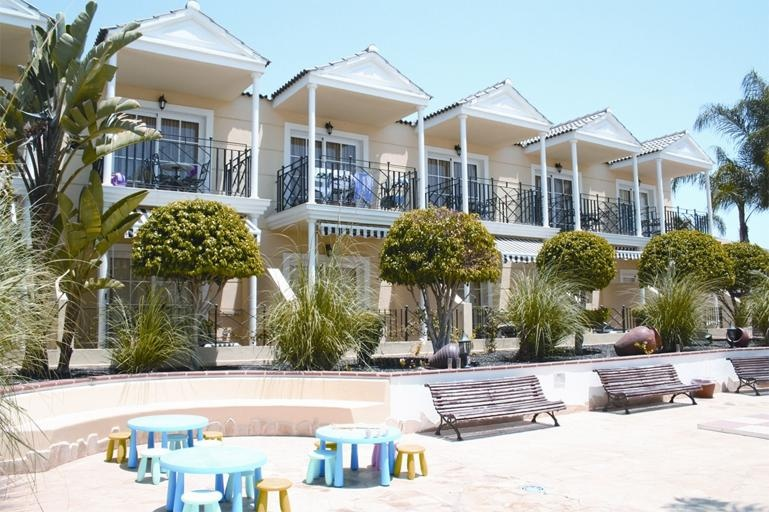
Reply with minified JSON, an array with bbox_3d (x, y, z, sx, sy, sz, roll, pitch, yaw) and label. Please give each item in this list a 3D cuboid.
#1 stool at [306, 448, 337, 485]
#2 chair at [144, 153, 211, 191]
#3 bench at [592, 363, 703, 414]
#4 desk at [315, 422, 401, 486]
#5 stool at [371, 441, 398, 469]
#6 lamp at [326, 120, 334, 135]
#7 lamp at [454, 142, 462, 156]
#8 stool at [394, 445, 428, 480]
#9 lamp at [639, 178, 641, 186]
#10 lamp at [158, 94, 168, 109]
[{"bbox_3d":[-1.141,3.757,11.620,0.487,0.576,0.545,-3,-7,25],"label":"stool"},{"bbox_3d":[-6.626,-2.500,20.296,1.333,0.738,1.416,0,-1,13],"label":"chair"},{"bbox_3d":[6.832,3.446,16.756,2.910,1.049,0.899,-1,11,-24],"label":"bench"},{"bbox_3d":[-0.478,3.723,12.119,1.490,0.966,1.597,-1,-3,20],"label":"desk"},{"bbox_3d":[0.020,3.739,12.182,0.481,0.544,0.507,4,-12,-13],"label":"stool"},{"bbox_3d":[-1.966,-4.641,23.524,0.202,0.436,0.435,8,11,29],"label":"lamp"},{"bbox_3d":[2.986,-4.293,26.141,0.236,0.453,0.112,2,9,-3],"label":"lamp"},{"bbox_3d":[0.493,3.823,11.944,0.606,0.463,0.617,6,-6,-17],"label":"stool"},{"bbox_3d":[12.527,-3.563,31.384,0.087,0.283,0.231,5,10,15],"label":"lamp"},{"bbox_3d":[-7.223,-5.011,20.989,0.331,0.583,0.373,0,3,-5],"label":"lamp"}]
